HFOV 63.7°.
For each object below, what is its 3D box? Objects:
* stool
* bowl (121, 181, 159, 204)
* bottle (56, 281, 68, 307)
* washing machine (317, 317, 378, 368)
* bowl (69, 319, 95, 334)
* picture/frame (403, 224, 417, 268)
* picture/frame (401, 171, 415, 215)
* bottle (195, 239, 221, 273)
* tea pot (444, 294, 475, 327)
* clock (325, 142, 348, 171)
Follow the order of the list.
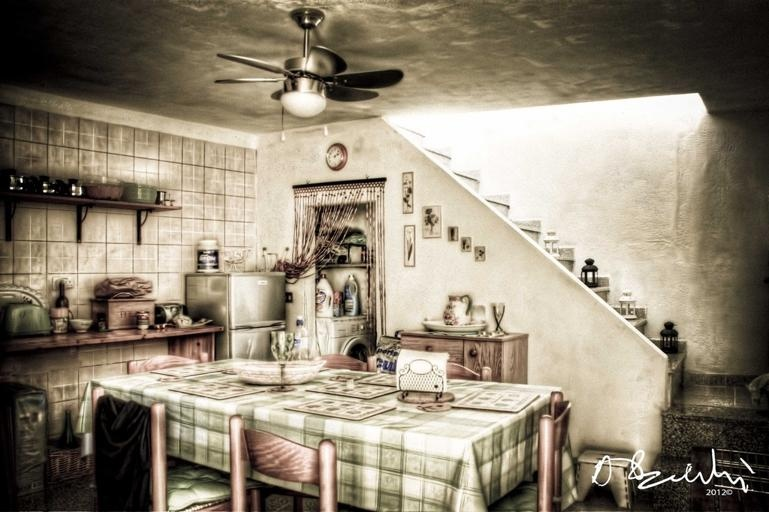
[{"bbox_3d":[1.848,1.864,5.228,0.425,0.316,0.422,-2,-8,28],"label":"stool"},{"bbox_3d":[-2.495,-0.638,6.237,0.222,0.109,0.266,0,1,-40],"label":"bowl"},{"bbox_3d":[-3.082,0.354,5.885,0.106,0.242,0.203,-4,11,-27],"label":"bottle"},{"bbox_3d":[-0.487,1.030,6.876,0.518,0.665,0.502,-1,1,-38],"label":"washing machine"},{"bbox_3d":[-2.876,0.670,5.850,0.153,0.090,0.150,0,-9,0],"label":"bowl"},{"bbox_3d":[0.255,-0.135,6.504,0.148,0.391,0.016,-1,4,-26],"label":"picture/frame"},{"bbox_3d":[0.238,-0.670,6.488,0.151,0.431,0.020,-9,14,-38],"label":"picture/frame"},{"bbox_3d":[-1.981,0.001,6.913,0.275,0.361,0.274,0,0,0],"label":"bottle"},{"bbox_3d":[0.727,0.525,6.068,0.307,0.296,0.239,8,-11,-36],"label":"tea pot"},{"bbox_3d":[-0.538,-1.115,6.888,0.293,0.308,0.075,9,12,37],"label":"clock"}]
